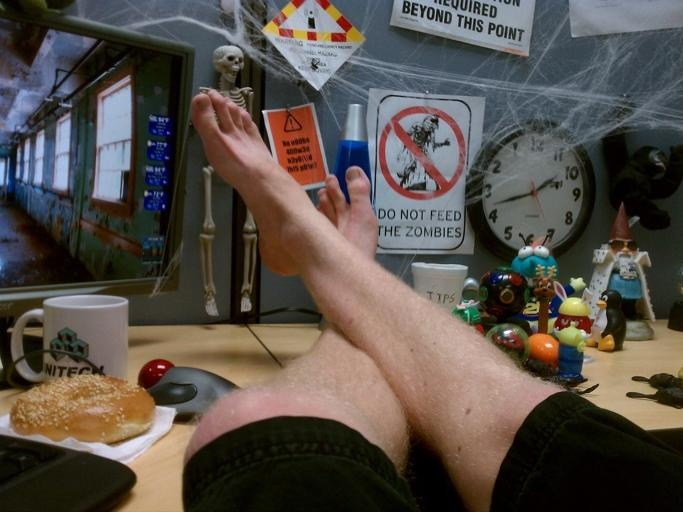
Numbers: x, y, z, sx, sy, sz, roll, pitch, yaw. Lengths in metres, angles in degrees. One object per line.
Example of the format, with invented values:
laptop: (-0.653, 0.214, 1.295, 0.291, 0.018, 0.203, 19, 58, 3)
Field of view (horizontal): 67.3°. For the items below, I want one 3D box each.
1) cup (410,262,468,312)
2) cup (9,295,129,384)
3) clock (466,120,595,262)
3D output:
cup: (0.184, 0.048, 0.964, 0.096, 0.087, 0.091, 1, 0, 0)
cup: (-0.385, 0.115, 0.749, 0.152, 0.155, 0.099, -2, -4, -6)
clock: (0.397, -0.152, 1.098, 0.238, 0.273, 0.043, -2, 14, -10)
